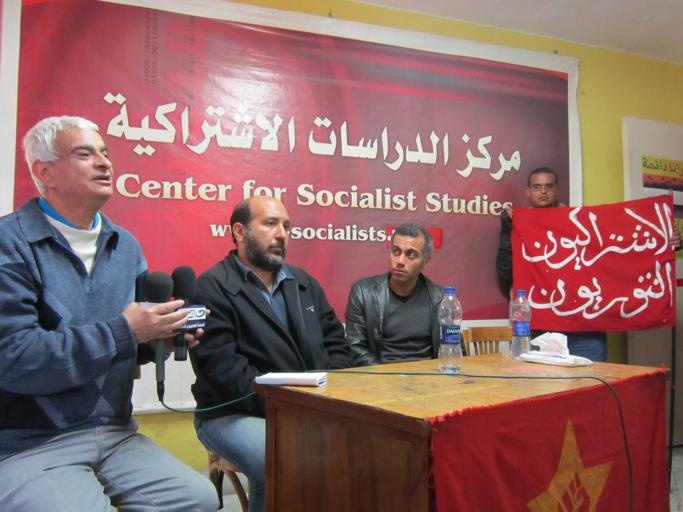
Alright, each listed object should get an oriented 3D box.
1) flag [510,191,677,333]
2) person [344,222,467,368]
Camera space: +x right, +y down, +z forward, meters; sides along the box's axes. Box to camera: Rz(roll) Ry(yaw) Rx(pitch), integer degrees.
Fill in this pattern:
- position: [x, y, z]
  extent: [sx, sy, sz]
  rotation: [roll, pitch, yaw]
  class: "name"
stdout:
- position: [2.035, 0.076, 5.222]
  extent: [1.178, 1.003, 0.083]
  rotation: [-1, -11, 3]
  class: "flag"
- position: [0.415, 0.362, 4.318]
  extent: [0.789, 1.107, 0.831]
  rotation: [5, 9, 15]
  class: "person"
